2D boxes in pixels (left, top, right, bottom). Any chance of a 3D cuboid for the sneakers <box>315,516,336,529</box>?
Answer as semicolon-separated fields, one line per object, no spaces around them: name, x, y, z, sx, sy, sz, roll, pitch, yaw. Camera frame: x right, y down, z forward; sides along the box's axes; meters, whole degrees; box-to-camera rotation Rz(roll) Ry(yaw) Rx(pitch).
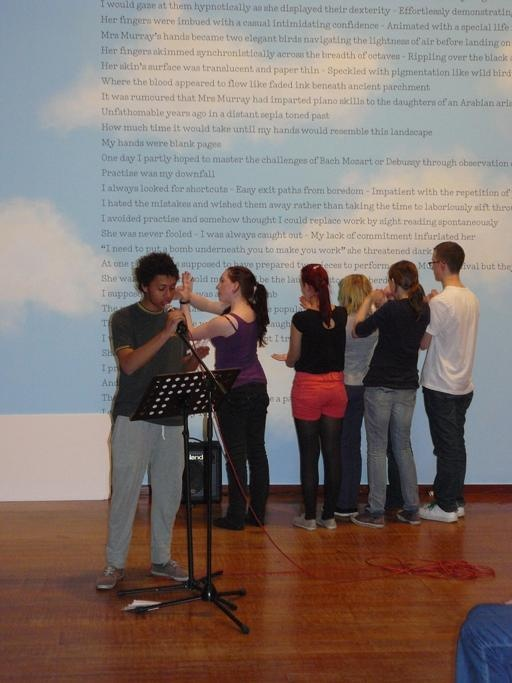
sneakers;0.410;1.056;5.415;0.048;0.050;0.132;2;0;-32

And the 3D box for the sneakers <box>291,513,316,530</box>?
sneakers;0.273;1.040;5.341;0.059;0.060;0.147;2;0;-30

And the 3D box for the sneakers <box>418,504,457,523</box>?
sneakers;1.091;1.041;5.624;0.254;0.104;0.098;3;3;45

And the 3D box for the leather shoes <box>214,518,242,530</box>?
leather shoes;-0.155;1.051;5.374;0.182;0.068;0.062;2;-2;42

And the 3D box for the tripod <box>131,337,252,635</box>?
tripod;-0.310;0.580;4.181;0.537;1.244;0.761;0;8;-4

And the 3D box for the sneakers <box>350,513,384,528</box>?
sneakers;0.660;1.059;5.483;0.181;0.078;0.075;2;-3;45

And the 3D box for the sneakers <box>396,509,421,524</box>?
sneakers;0.913;1.043;5.521;0.060;0.063;0.147;0;2;-24

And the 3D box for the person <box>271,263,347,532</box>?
person;0.340;0.329;5.267;0.350;1.524;0.248;1;9;3

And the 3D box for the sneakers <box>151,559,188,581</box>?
sneakers;-0.398;1.103;4.491;0.201;0.080;0.075;3;-7;23

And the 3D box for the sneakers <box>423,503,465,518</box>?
sneakers;1.128;1.034;5.608;0.102;0.103;0.254;-2;2;-40

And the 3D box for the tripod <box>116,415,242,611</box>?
tripod;-0.310;0.810;4.557;0.814;1.108;0.807;2;-8;0

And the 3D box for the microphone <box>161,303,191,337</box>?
microphone;-0.361;-0.091;4.113;0.046;0.168;0.051;-11;-8;-11
